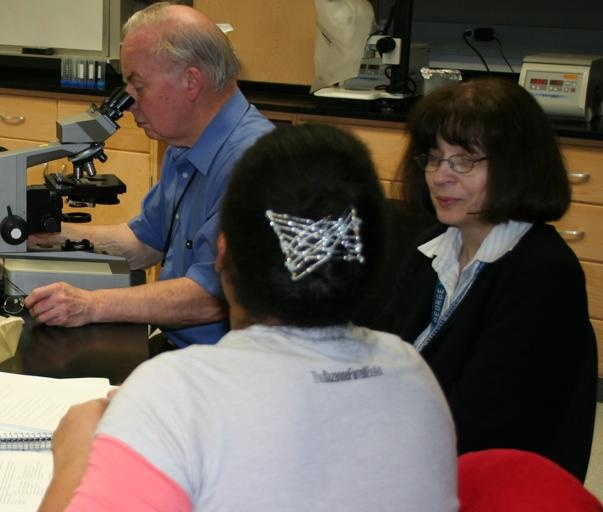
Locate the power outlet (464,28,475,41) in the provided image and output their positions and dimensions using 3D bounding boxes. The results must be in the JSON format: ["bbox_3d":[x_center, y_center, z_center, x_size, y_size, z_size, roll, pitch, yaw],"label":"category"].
[{"bbox_3d":[0.915,-1.189,3.219,0.061,0.062,0.014,5,32,17],"label":"power outlet"}]
